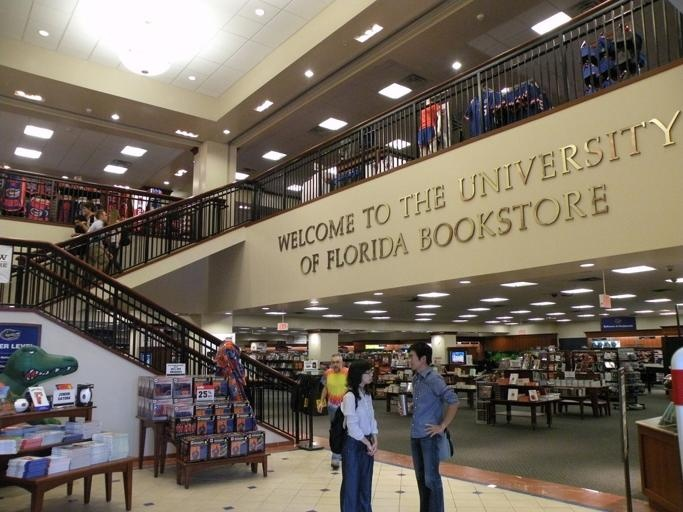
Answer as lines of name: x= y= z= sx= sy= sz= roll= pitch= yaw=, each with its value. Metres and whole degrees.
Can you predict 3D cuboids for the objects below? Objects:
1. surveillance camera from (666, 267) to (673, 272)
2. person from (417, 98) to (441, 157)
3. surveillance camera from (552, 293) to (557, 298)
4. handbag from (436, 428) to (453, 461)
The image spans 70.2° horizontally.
surveillance camera: x=6.199 y=0.260 z=9.195 sx=0.084 sy=0.035 sz=0.092 roll=-1 pitch=-11 yaw=-3
person: x=1.665 y=-2.503 z=9.401 sx=0.283 sy=1.154 sz=0.720 roll=4 pitch=-12 yaw=-21
surveillance camera: x=5.891 y=1.107 z=13.473 sx=0.158 sy=0.072 sz=0.224 roll=-2 pitch=-4 yaw=16
handbag: x=1.148 y=2.119 z=5.372 sx=0.137 sy=0.382 sz=0.497 roll=-3 pitch=-12 yaw=14
